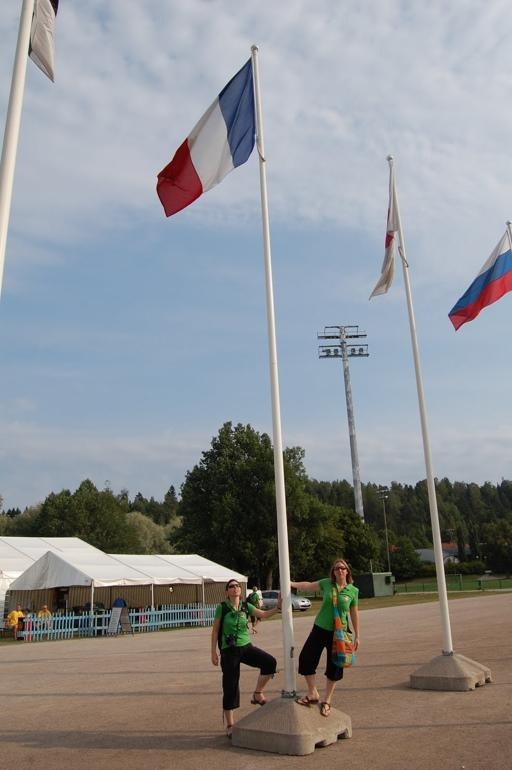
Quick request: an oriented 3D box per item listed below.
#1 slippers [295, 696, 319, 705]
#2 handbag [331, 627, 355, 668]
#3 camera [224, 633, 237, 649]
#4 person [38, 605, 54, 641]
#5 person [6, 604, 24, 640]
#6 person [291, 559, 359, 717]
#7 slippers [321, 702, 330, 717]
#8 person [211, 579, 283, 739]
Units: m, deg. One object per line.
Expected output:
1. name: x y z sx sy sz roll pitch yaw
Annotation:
1. slippers: 0.534 3.253 6.068 0.275 0.070 0.122 25 -33 -19
2. handbag: 0.873 2.661 5.997 0.152 0.415 0.305 -16 -34 33
3. camera: -0.267 2.687 6.192 0.074 0.108 0.106 2 -18 -11
4. person: -9.144 10.347 25.746 0.598 1.297 1.748 2 -17 -20
5. person: -10.708 10.625 26.433 0.578 1.304 3.593 3 -18 -23
6. person: 0.754 2.657 6.247 0.671 1.515 0.651 -6 -16 11
7. slippers: 0.709 3.352 6.133 0.094 0.128 0.257 -6 -17 10
8. person: -0.081 2.924 6.398 0.705 1.570 0.464 -1 -4 -3
